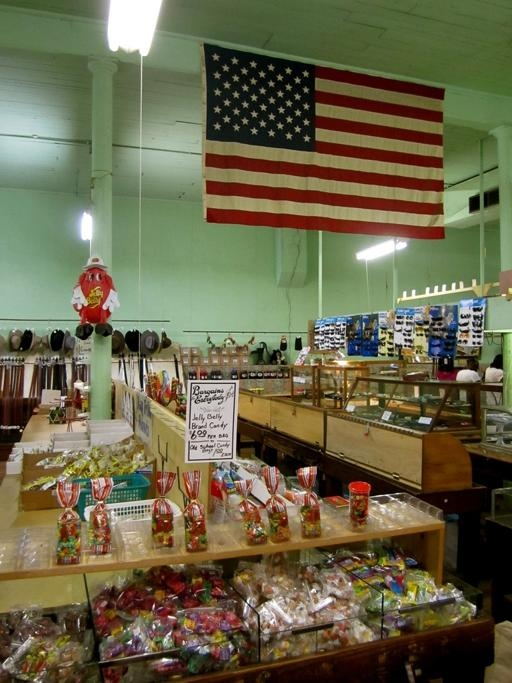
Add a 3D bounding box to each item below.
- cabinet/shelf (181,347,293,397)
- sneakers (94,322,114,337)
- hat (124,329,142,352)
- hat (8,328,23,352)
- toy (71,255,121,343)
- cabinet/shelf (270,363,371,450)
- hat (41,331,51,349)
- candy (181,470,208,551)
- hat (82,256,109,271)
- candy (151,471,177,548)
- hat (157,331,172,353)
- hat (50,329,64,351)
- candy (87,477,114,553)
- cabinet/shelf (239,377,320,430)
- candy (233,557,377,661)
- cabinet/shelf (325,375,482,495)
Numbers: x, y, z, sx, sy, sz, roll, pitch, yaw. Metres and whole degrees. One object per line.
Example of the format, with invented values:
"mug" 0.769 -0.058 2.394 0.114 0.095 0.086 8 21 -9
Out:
"cabinet/shelf" -0.469 0.630 10.717 2.265 0.283 1.015 6 20 -11
"sneakers" -1.676 -0.131 5.481 0.173 0.085 0.214 0 0 -21
"hat" -2.490 0.015 10.011 0.272 0.485 0.330 -2 3 -7
"hat" -4.524 -0.020 9.470 0.103 0.361 0.331 6 9 25
"toy" -1.772 -0.472 5.522 0.454 0.884 0.302 -2 3 -20
"cabinet/shelf" 0.578 0.613 4.689 0.627 0.737 1.097 4 -3 -30
"hat" -4.114 0.005 9.795 0.146 0.313 0.338 -2 3 -22
"candy" -0.183 0.501 1.521 0.066 0.221 0.157 -2 3 -6
"hat" -1.755 -0.857 5.462 0.242 0.143 0.176 -2 3 -15
"candy" -0.287 0.494 1.535 0.068 0.218 0.178 -2 3 -11
"hat" -1.882 -0.022 10.451 0.336 0.371 0.368 -2 6 15
"hat" -3.863 -0.015 9.730 0.261 0.434 0.185 -2 3 -21
"candy" -0.454 0.504 1.464 0.064 0.183 0.164 -2 3 -17
"cabinet/shelf" 0.236 0.768 6.164 0.607 0.369 0.606 0 3 -14
"candy" 0.139 0.805 1.545 0.389 0.136 0.357 -2 3 -12
"cabinet/shelf" 0.950 0.585 3.434 0.421 0.650 1.105 5 -4 -19
